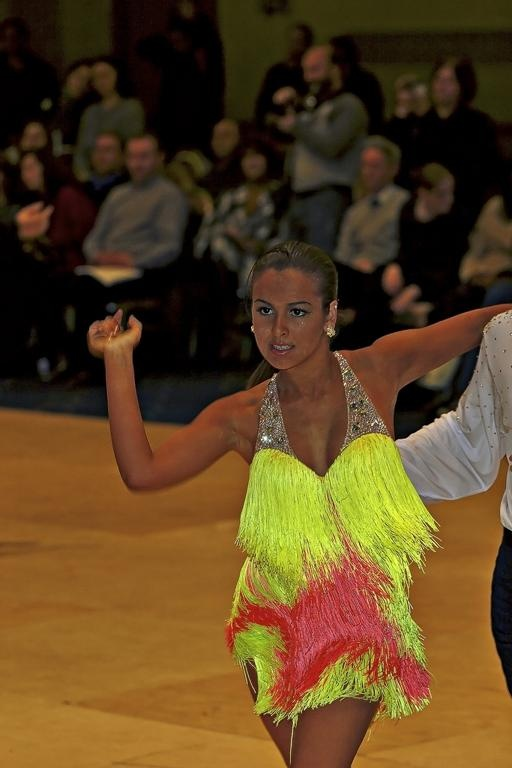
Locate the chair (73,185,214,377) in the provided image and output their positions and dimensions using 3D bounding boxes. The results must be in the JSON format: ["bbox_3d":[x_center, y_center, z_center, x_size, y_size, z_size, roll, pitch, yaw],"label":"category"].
[{"bbox_3d":[-0.718,-0.695,4.861,0.805,0.992,0.670,-8,24,-2],"label":"chair"}]
